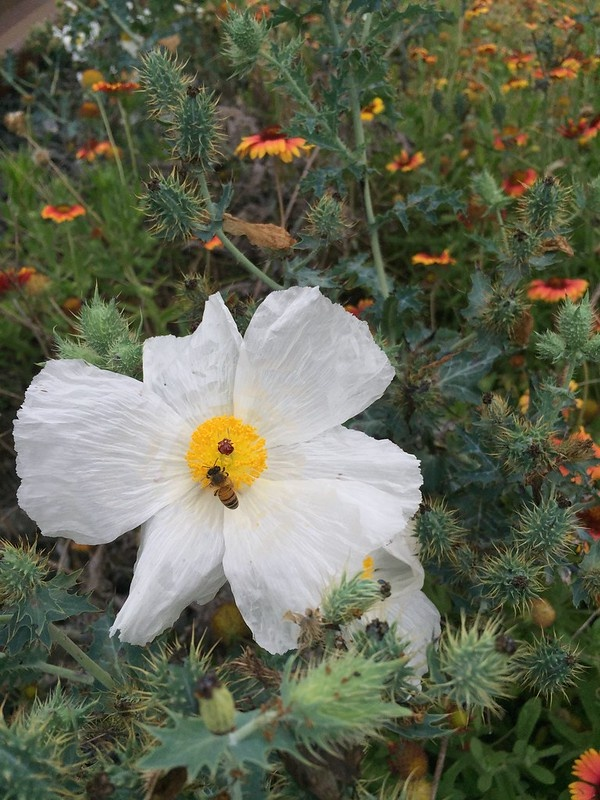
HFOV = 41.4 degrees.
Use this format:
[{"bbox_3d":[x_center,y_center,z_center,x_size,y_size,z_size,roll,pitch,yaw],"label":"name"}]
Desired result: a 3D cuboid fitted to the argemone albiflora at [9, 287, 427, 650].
[{"bbox_3d":[-0.210,0.117,1.711,0.753,0.766,0.268,-37,85,17],"label":"argemone albiflora"}]
